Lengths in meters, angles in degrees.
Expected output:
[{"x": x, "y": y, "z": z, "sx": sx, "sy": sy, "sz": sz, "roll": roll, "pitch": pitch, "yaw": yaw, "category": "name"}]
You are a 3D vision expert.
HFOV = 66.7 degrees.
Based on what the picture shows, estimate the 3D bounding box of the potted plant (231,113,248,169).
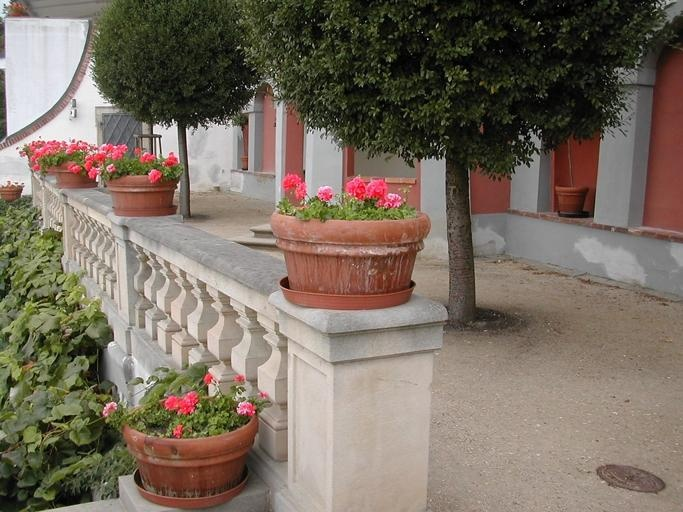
[{"x": -3.479, "y": -4.003, "z": 18.069, "sx": 0.468, "sy": 1.882, "sz": 1.235, "roll": -1, "pitch": 12, "yaw": -13, "category": "potted plant"}]

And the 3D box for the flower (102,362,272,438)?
[{"x": -0.701, "y": 0.690, "z": 2.361, "sx": 0.484, "sy": 0.182, "sz": 0.528, "roll": -1, "pitch": 3, "yaw": -9, "category": "flower"}]

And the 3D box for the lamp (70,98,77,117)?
[{"x": -9.065, "y": -5.009, "z": 17.572, "sx": 0.230, "sy": 0.597, "sz": 0.146, "roll": -3, "pitch": 12, "yaw": -23, "category": "lamp"}]

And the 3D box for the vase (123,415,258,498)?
[{"x": -0.616, "y": 0.845, "z": 2.159, "sx": 0.337, "sy": 0.180, "sz": 0.363, "roll": 0, "pitch": 2, "yaw": -15, "category": "vase"}]

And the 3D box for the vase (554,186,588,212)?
[{"x": 3.611, "y": -0.891, "z": 8.213, "sx": 0.393, "sy": 0.344, "sz": 0.428, "roll": 0, "pitch": 6, "yaw": -5, "category": "vase"}]
